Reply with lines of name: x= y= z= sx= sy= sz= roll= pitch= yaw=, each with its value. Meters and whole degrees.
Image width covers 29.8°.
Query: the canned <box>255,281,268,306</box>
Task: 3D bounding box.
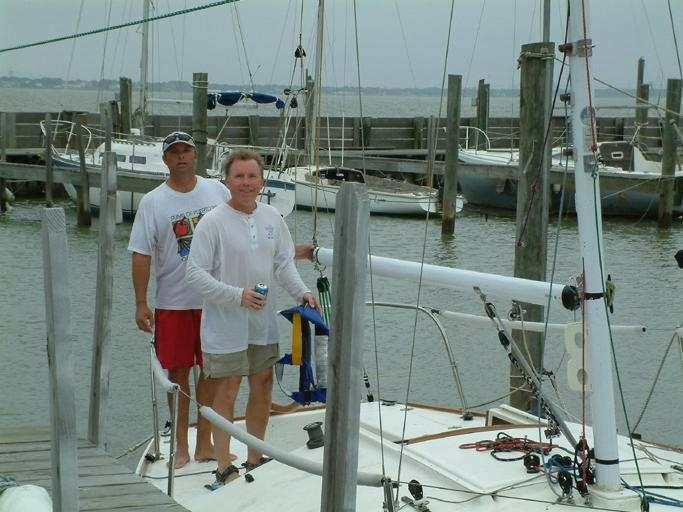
canned: x=-0.588 y=0.267 z=9.307 sx=0.101 sy=0.170 sz=0.100 roll=-25 pitch=45 yaw=-38
